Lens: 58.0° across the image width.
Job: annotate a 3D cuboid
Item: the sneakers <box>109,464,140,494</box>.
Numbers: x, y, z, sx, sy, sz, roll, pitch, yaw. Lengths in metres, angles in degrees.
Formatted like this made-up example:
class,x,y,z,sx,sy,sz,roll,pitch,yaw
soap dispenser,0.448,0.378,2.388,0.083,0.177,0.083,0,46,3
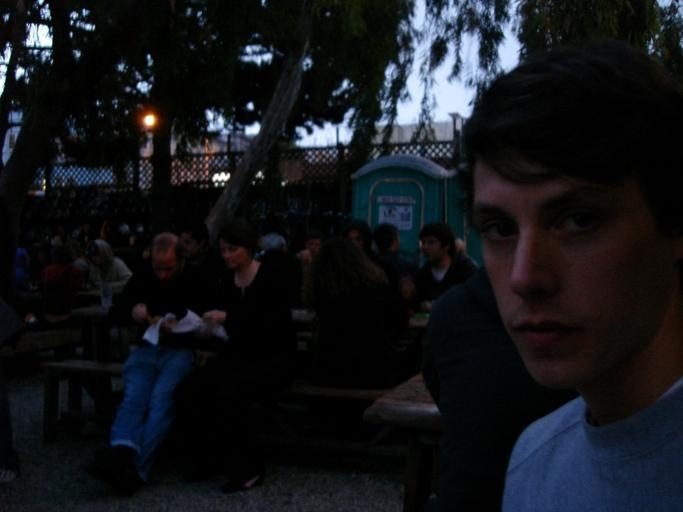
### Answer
class,x,y,z,sx,sy,sz,roll,pitch,yaw
sneakers,-1.296,1.332,3.705,0.114,0.225,0.115,-8,23,3
